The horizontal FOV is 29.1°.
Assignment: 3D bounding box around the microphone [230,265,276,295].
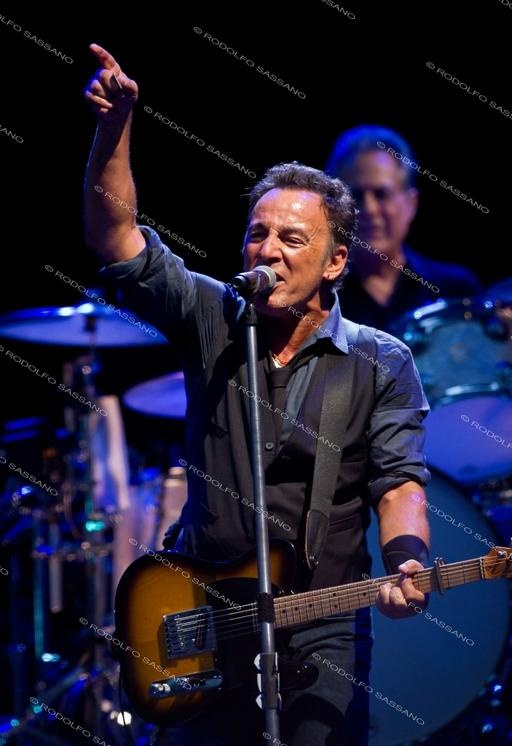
[{"bbox_3d":[-0.011,-0.303,3.165,0.074,0.068,0.158,-8,0,23],"label":"microphone"}]
